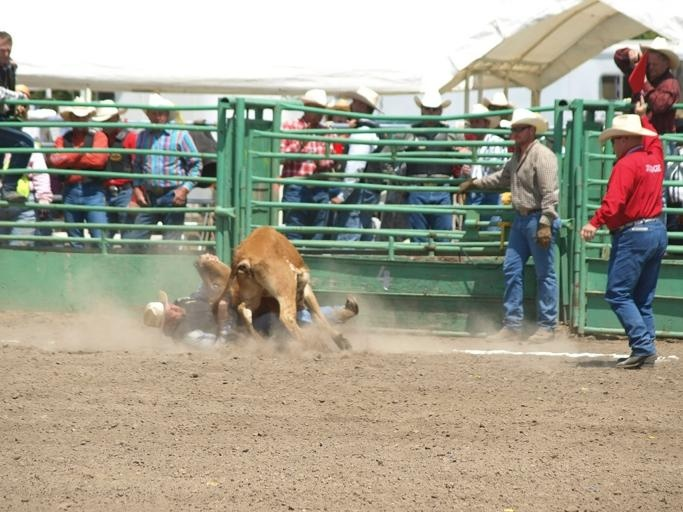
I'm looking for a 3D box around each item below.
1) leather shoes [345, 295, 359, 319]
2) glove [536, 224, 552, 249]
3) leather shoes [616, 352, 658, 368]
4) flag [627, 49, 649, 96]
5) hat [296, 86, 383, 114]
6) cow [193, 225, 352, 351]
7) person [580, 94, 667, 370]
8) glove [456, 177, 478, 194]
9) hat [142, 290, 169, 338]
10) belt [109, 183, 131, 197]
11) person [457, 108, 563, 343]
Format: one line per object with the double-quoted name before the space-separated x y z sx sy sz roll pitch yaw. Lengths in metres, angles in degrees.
"leather shoes" 0.097 0.524 9.467 0.178 0.274 0.089 -5 -22 17
"glove" 1.996 -0.209 9.370 0.132 0.225 0.097 1 6 8
"leather shoes" 2.674 0.957 8.706 0.423 0.144 0.128 1 -3 -7
"flag" 3.187 -1.973 10.238 0.195 0.475 0.428 2 6 16
"hat" 0.011 -1.953 11.648 0.944 0.187 0.708 1 1 0
"cow" -0.522 0.301 9.564 0.675 1.161 2.276 -12 -4 17
"person" 2.654 -0.160 8.751 0.901 2.300 0.586 -4 7 -35
"glove" 1.305 -0.744 9.937 0.132 0.116 0.232 -40 12 -36
"hat" -1.799 0.545 9.261 0.265 0.376 0.191 6 6 26
"belt" -2.602 -0.780 11.142 0.207 0.095 0.158 -2 2 5
"person" 1.831 -0.327 9.680 0.806 2.322 0.548 4 7 27
